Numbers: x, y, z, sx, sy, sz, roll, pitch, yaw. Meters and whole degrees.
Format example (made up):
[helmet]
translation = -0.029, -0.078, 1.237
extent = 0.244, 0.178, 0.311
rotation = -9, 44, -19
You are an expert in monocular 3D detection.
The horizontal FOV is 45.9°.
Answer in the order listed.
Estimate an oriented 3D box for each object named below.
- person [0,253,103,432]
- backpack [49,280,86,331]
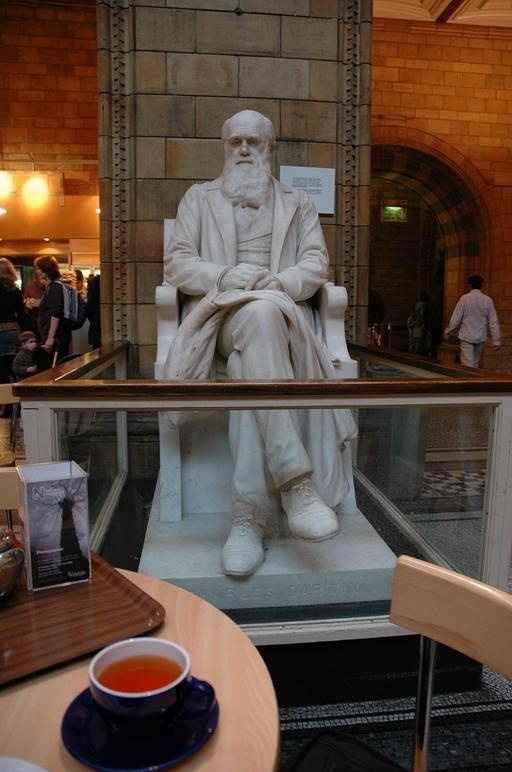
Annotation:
[person]
translation = -1.857, -0.704, 5.656
extent = 0.532, 0.999, 1.260
rotation = -5, 12, -16
[backpack]
translation = -1.739, -0.743, 5.575
extent = 0.308, 0.436, 0.196
rotation = -5, 12, -18
